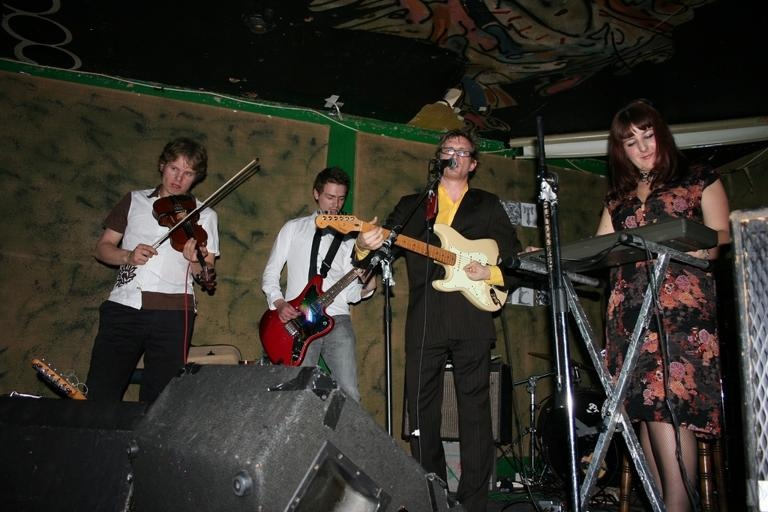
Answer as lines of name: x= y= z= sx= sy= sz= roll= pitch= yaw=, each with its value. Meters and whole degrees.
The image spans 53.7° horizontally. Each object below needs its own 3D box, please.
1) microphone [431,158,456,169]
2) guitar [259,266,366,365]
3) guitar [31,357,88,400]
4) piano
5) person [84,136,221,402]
microphone: x=0.437 y=-0.661 z=5.407 sx=0.069 sy=0.063 sz=0.191 roll=8 pitch=7 yaw=33
guitar: x=-0.594 y=0.465 z=6.016 sx=0.349 sy=0.910 sz=0.124 roll=43 pitch=-9 yaw=12
guitar: x=-2.431 y=0.917 z=5.636 sx=0.512 sy=0.165 sz=0.119 roll=37 pitch=32 yaw=6
piano: x=1.562 y=-0.062 z=4.692 sx=0.912 sy=0.273 sz=0.380 roll=1 pitch=-15 yaw=23
person: x=-1.760 y=0.341 z=5.669 sx=0.795 sy=2.363 sz=0.764 roll=11 pitch=11 yaw=-10
